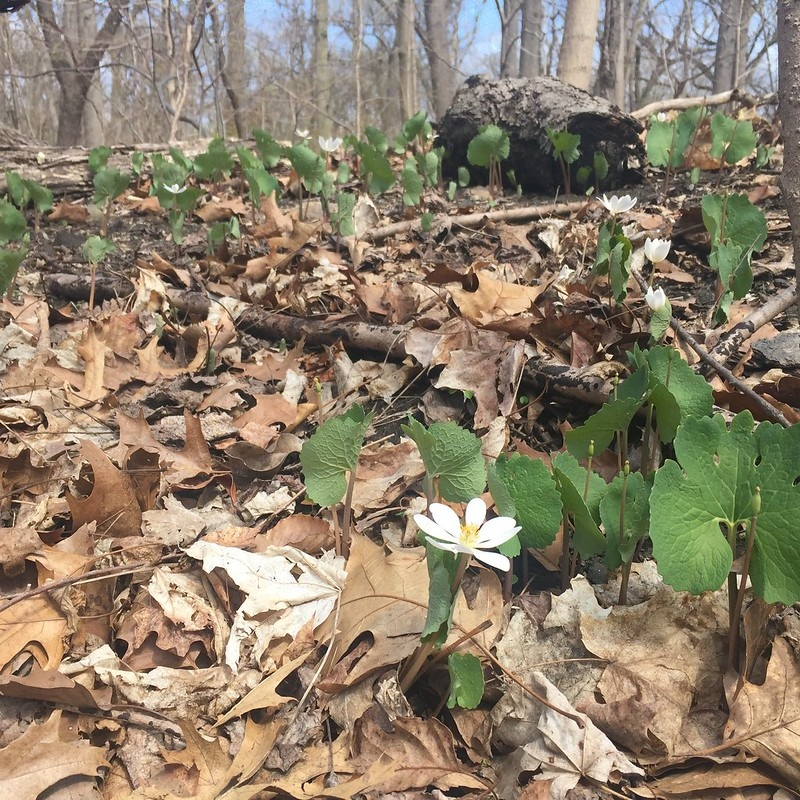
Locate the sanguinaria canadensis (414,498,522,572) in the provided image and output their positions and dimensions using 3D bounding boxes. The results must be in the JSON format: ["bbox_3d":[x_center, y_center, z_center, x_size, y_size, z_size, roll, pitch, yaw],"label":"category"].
[{"bbox_3d":[0.134,0.354,2.310,0.189,0.060,0.196,-24,47,-39],"label":"sanguinaria canadensis"}]

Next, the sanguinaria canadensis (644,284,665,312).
[{"bbox_3d":[0.708,-0.284,2.765,0.065,0.081,0.069,-2,3,7],"label":"sanguinaria canadensis"}]
